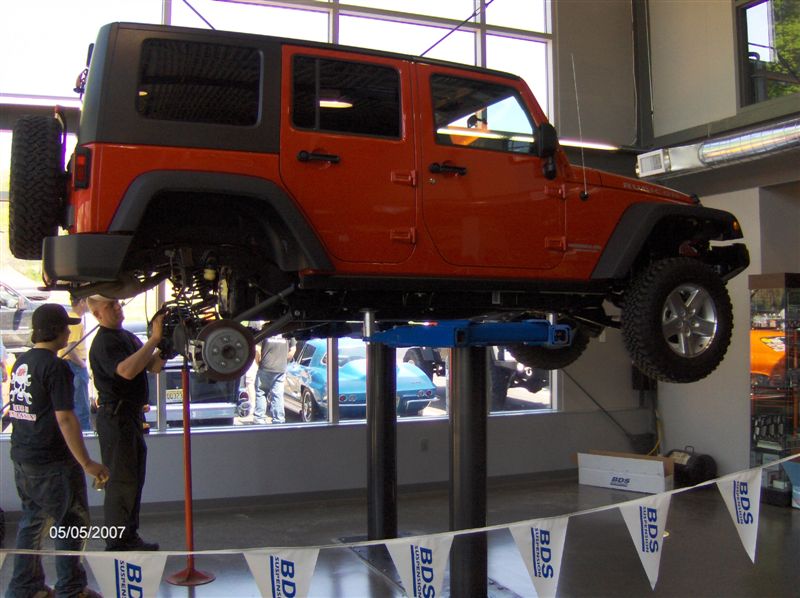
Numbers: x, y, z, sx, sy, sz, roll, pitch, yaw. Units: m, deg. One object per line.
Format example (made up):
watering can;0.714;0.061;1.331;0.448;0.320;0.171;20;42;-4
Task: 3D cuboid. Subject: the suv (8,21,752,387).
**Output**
suv;-0.259;-0.650;5.338;4.317;2.075;2.323;-3;1;-15

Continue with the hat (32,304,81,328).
hat;-2.392;0.110;4.900;0.242;0.141;0.159;-8;8;-33
